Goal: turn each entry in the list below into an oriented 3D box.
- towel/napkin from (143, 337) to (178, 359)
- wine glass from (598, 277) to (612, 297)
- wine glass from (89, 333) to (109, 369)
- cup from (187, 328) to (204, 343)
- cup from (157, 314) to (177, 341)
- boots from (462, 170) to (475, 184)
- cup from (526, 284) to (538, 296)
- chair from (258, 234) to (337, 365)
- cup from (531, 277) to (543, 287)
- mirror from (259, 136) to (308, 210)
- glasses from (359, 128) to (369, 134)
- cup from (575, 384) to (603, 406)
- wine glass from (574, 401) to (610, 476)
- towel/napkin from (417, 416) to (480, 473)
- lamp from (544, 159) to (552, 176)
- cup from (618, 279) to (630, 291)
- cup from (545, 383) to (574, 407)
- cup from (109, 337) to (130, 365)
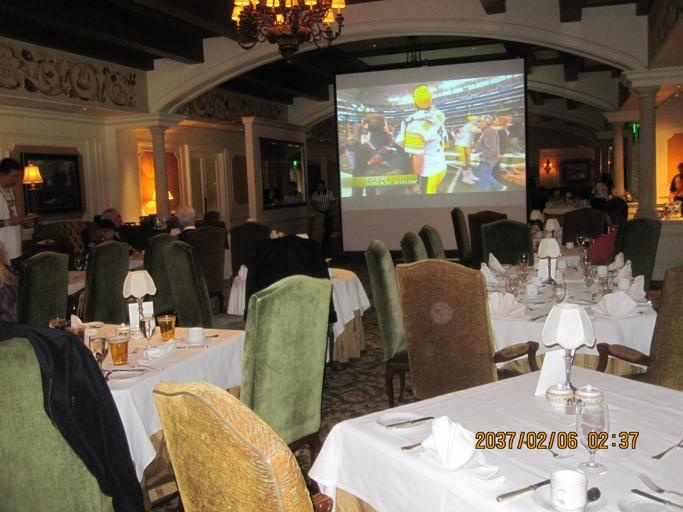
[{"bbox_3d":[-0.976,0.508,2.853,0.093,0.054,0.135,1,6,26],"label":"towel/napkin"},{"bbox_3d":[1.809,0.220,3.625,0.074,0.126,0.166,-1,4,25],"label":"wine glass"},{"bbox_3d":[-1.233,0.493,2.692,0.096,0.174,0.095,-2,9,-40],"label":"wine glass"},{"bbox_3d":[-0.861,0.474,3.074,0.096,0.078,0.061,4,-6,-42],"label":"cup"},{"bbox_3d":[-1.017,0.415,3.129,0.125,0.165,0.137,-1,1,0],"label":"cup"},{"bbox_3d":[2.410,-1.527,10.284,0.342,0.284,0.129,4,15,14],"label":"boots"},{"bbox_3d":[1.355,0.244,3.765,0.073,0.095,0.072,0,-1,0],"label":"cup"},{"bbox_3d":[-0.403,0.287,4.652,0.718,1.222,0.616,-3,25,-1],"label":"chair"},{"bbox_3d":[1.438,0.191,3.897,0.063,0.057,0.068,-4,4,0],"label":"cup"},{"bbox_3d":[-1.460,-2.037,13.220,0.044,1.689,2.324,-9,13,-34],"label":"mirror"},{"bbox_3d":[0.444,-2.558,10.716,0.107,0.089,0.119,0,0,6],"label":"glasses"},{"bbox_3d":[0.894,0.498,1.915,0.071,0.059,0.079,0,-6,2],"label":"cup"},{"bbox_3d":[0.816,0.584,1.725,0.093,0.198,0.193,-1,4,25],"label":"wine glass"},{"bbox_3d":[0.350,0.613,1.745,0.181,0.153,0.116,-2,3,14],"label":"towel/napkin"},{"bbox_3d":[8.563,-3.704,21.959,0.291,0.637,0.112,-2,4,-4],"label":"lamp"},{"bbox_3d":[1.914,0.201,3.589,0.068,0.059,0.073,-5,8,1],"label":"cup"},{"bbox_3d":[0.862,0.553,2.096,0.068,0.056,0.075,-1,-4,0],"label":"cup"},{"bbox_3d":[-1.157,0.496,2.742,0.112,0.155,0.121,0,-7,0],"label":"cup"}]
